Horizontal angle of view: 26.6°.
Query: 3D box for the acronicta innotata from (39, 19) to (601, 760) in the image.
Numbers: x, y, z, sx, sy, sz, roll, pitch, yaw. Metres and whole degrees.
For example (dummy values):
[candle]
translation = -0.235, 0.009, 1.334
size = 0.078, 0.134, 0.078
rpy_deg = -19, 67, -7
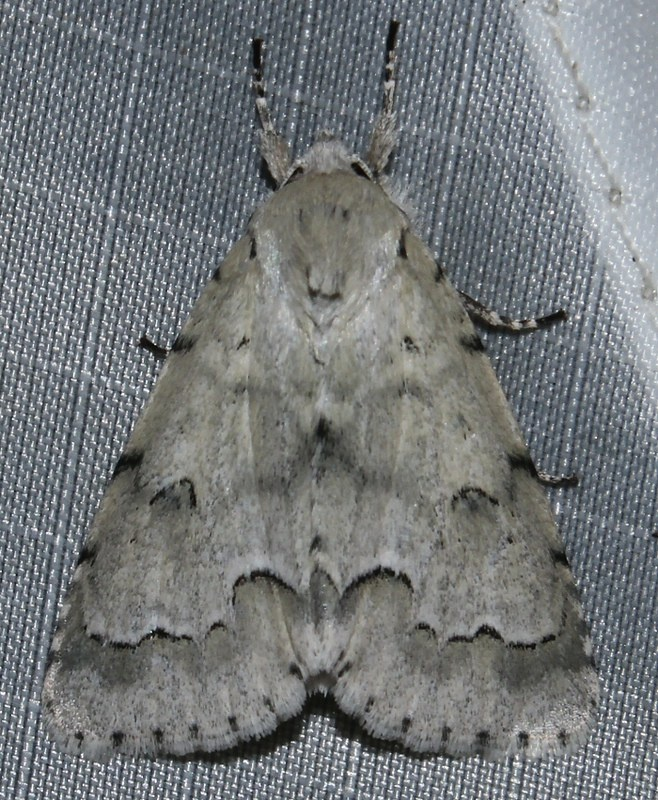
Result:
[acronicta innotata]
translation = -0.005, 0.010, 3.449
size = 0.877, 0.674, 2.043
rpy_deg = 8, 49, -12
